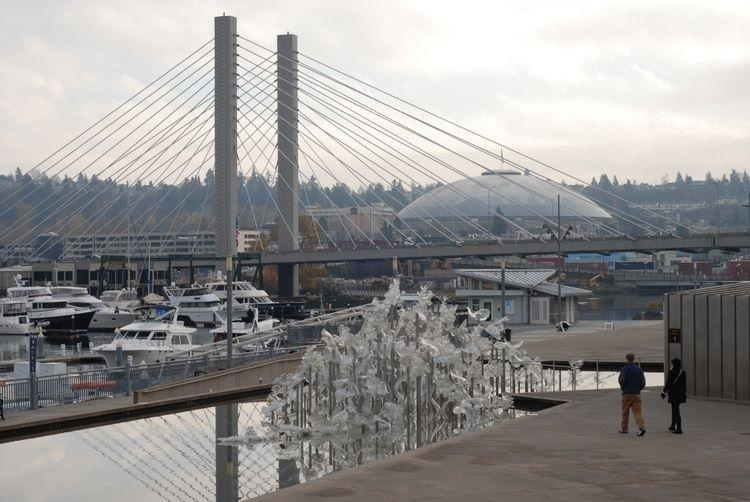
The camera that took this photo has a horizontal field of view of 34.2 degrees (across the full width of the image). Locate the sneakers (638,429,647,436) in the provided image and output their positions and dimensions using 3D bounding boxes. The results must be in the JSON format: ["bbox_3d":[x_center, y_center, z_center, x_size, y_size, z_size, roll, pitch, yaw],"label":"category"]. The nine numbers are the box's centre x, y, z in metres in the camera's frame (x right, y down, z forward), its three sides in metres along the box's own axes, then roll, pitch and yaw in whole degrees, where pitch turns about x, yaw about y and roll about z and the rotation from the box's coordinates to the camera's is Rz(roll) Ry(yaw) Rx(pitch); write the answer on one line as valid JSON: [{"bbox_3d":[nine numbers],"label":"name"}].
[{"bbox_3d":[7.989,5.451,36.463,0.134,0.138,0.342,0,3,-2],"label":"sneakers"}]

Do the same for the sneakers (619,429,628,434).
[{"bbox_3d":[7.486,5.430,36.593,0.244,0.121,0.201,3,3,4],"label":"sneakers"}]
